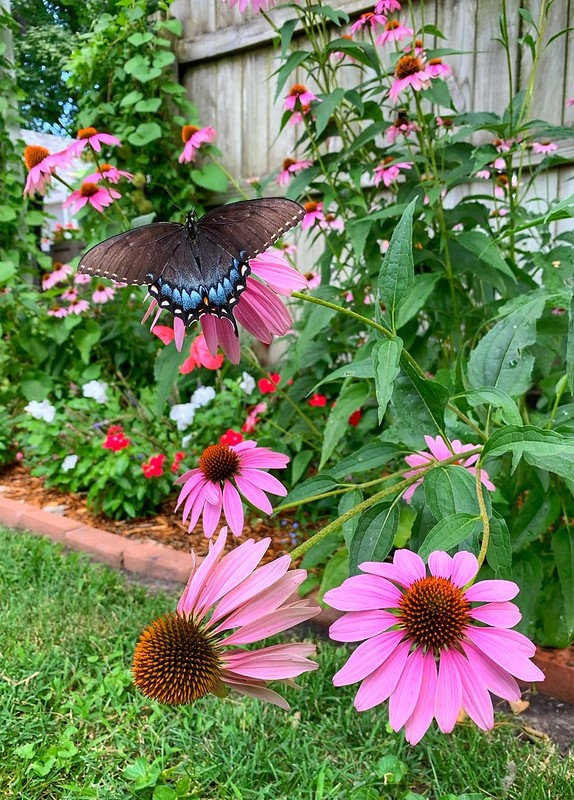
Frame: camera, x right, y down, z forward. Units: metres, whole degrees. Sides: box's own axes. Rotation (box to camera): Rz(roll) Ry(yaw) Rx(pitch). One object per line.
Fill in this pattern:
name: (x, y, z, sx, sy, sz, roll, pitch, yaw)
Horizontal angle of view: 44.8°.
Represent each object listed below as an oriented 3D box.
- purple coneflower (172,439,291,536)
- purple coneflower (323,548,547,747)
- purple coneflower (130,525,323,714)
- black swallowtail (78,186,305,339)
purple coneflower: (-0.129, 0.185, 1.323, 0.203, 0.114, 0.202, -3, 40, 30)
purple coneflower: (0.173, 0.283, 0.824, 0.250, 0.195, 0.160, 6, 11, 25)
purple coneflower: (-0.078, 0.301, 0.959, 0.299, 0.264, 0.149, 9, 13, 39)
black swallowtail: (-0.156, -0.223, 1.131, 0.358, 0.209, 0.201, 7, 11, 30)
